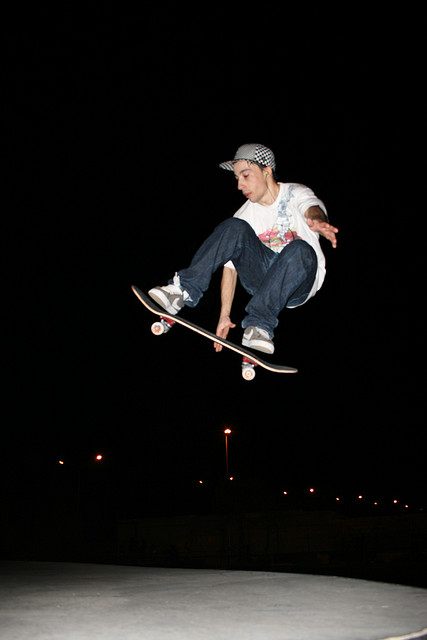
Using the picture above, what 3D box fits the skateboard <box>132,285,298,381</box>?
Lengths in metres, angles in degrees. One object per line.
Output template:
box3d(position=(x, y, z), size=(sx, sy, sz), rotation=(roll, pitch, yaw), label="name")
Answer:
box3d(position=(0.046, 0.110, 4.890), size=(1.108, 0.193, 0.265), rotation=(32, 3, -2), label="skateboard")

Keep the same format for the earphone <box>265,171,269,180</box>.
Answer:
box3d(position=(0.328, -0.913, 4.165), size=(0.011, 0.030, 0.016), rotation=(21, 2, 18), label="earphone")
